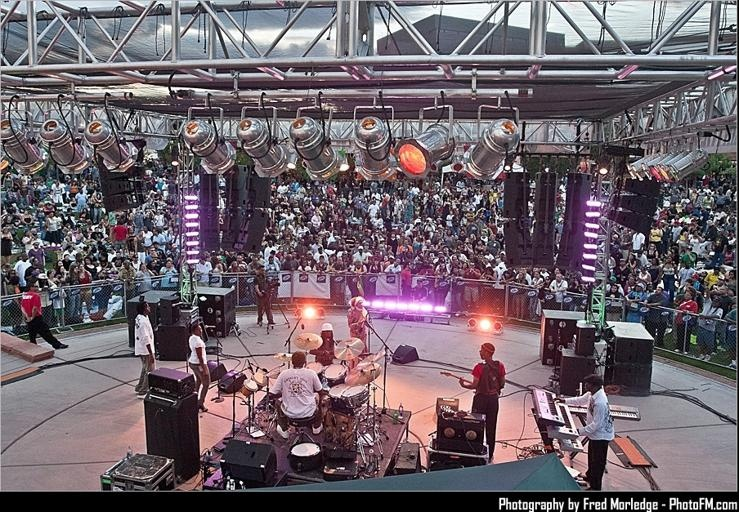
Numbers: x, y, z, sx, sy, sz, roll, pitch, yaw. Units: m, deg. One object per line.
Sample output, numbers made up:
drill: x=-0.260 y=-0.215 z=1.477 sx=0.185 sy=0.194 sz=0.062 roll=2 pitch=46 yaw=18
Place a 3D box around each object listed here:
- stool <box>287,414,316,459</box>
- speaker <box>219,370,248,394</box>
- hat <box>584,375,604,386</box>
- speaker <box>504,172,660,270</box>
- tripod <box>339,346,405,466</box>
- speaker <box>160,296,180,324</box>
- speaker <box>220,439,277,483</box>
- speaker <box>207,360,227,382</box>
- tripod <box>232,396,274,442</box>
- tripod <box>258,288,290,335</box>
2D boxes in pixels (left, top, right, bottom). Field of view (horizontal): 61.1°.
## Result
stool: x=-1.361 y=3.678 z=13.145 sx=0.598 sy=0.868 sz=0.641 roll=-1 pitch=-8 yaw=1
speaker: x=-3.068 y=2.780 z=14.016 sx=0.471 sy=0.355 sz=0.519 roll=4 pitch=29 yaw=43
hat: x=4.498 y=2.511 z=12.598 sx=0.263 sy=0.246 sz=0.203 roll=6 pitch=14 yaw=23
speaker: x=4.705 y=-0.807 z=14.676 sx=3.357 sy=2.308 sz=1.087 roll=-1 pitch=3 yaw=-5
tripod: x=0.146 y=3.600 z=13.918 sx=0.811 sy=1.536 sz=2.871 roll=0 pitch=0 yaw=5
speaker: x=-5.757 y=1.582 z=18.076 sx=0.444 sy=0.947 sz=0.653 roll=3 pitch=5 yaw=16
speaker: x=-2.244 y=3.798 z=11.752 sx=1.172 sy=0.933 sz=0.667 roll=3 pitch=1 yaw=10
speaker: x=-3.697 y=2.761 z=15.348 sx=0.482 sy=0.464 sz=0.511 roll=3 pitch=6 yaw=39
tripod: x=-2.578 y=3.501 z=13.780 sx=0.817 sy=0.735 sz=1.327 roll=-1 pitch=3 yaw=-10
tripod: x=-3.272 y=1.843 z=21.629 sx=1.185 sy=1.837 sz=1.185 roll=-4 pitch=-1 yaw=29
